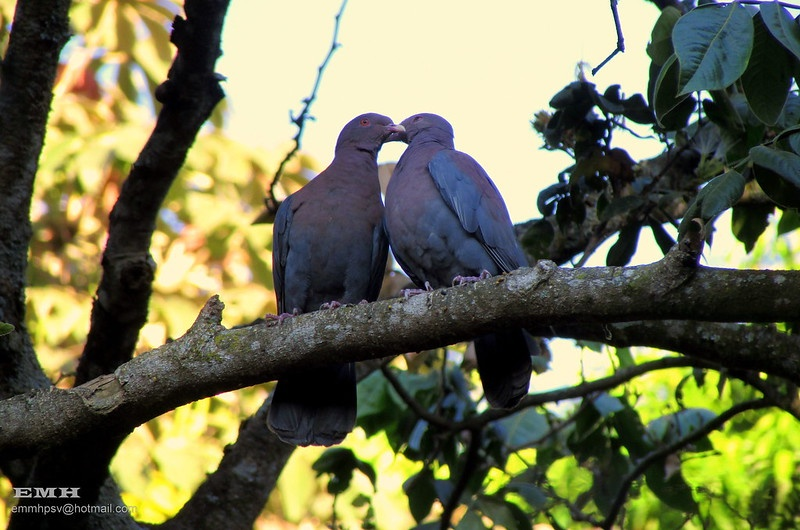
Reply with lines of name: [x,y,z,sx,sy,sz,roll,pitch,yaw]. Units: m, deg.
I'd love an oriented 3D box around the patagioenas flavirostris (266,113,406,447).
patagioenas flavirostris: [-0.355,0.067,8.384,0.891,2.244,1.399,1,-42,2]

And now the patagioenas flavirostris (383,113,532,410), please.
patagioenas flavirostris: [0.321,-0.008,8.156,0.865,1.299,1.818,1,-88,2]
